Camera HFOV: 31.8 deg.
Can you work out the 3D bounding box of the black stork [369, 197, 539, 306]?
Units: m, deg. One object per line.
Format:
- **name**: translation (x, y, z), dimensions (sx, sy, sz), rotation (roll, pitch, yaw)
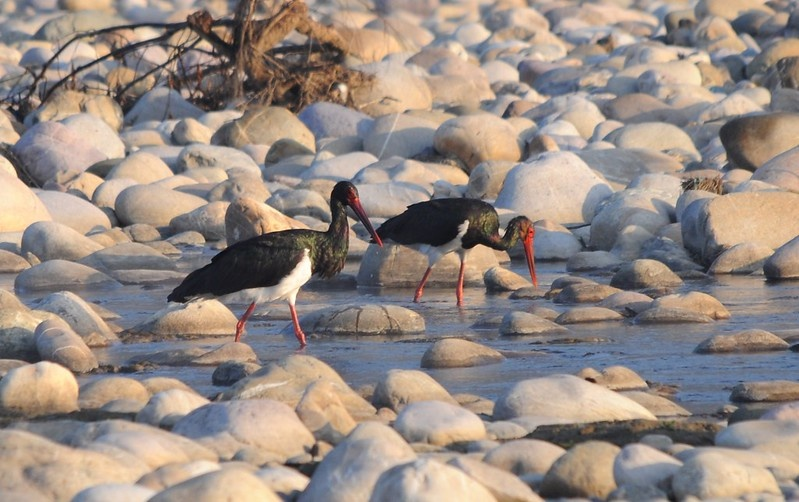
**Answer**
- **black stork**: translation (0.958, -0.037, 23.576), dimensions (2.559, 1.673, 1.054), rotation (-1, 5, -5)
